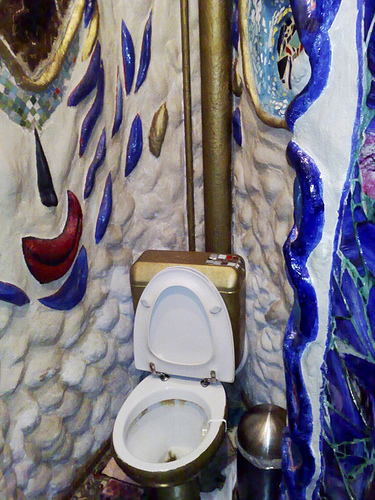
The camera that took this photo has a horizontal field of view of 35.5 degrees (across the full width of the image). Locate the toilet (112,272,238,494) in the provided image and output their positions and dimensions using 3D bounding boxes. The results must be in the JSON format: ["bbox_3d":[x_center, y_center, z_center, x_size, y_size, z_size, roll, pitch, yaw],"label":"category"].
[{"bbox_3d":[-0.032,0.397,1.758,0.236,0.622,0.527,4,33,11],"label":"toilet"}]

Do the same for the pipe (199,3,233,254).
[{"bbox_3d":[0.097,-0.362,1.899,0.108,0.811,0.244,-4,11,1],"label":"pipe"}]
